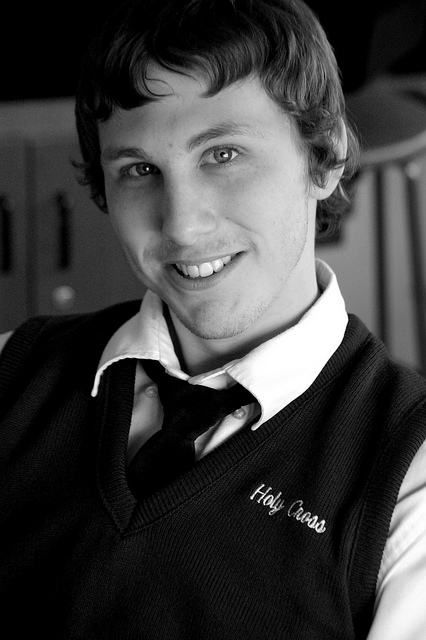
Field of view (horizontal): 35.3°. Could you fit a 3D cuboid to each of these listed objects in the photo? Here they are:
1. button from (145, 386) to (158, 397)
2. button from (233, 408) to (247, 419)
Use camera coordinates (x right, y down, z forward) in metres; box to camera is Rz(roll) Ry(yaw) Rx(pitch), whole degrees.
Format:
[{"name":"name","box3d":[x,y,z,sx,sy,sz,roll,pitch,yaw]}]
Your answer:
[{"name":"button","box3d":[-0.076,0.088,0.824,0.011,0.003,0.012,4,74,-2]},{"name":"button","box3d":[0.030,0.103,0.740,0.011,0.006,0.012,-19,79,-6]}]
